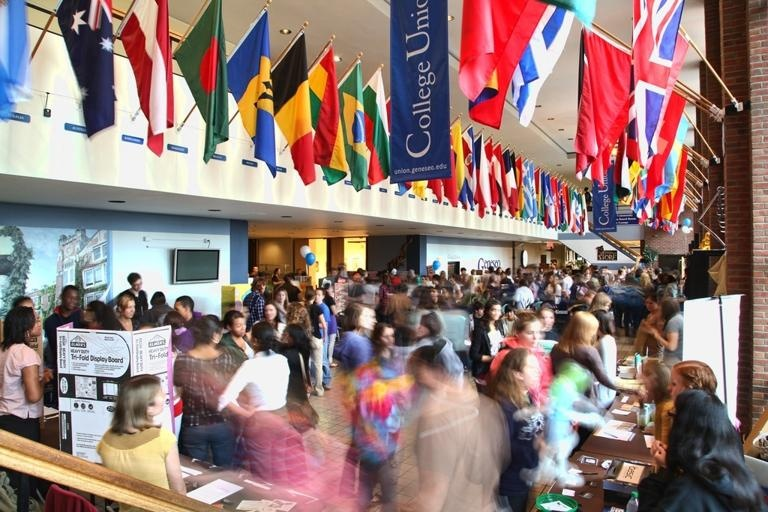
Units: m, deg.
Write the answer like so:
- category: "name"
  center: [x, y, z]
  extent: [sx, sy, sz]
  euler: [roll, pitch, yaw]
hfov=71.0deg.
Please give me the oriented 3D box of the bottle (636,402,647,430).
- category: "bottle"
  center: [3.243, 1.994, 6.728]
  extent: [0.137, 0.300, 0.268]
  euler: [2, 2, 16]

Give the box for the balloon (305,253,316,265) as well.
- category: "balloon"
  center: [-2.302, 0.088, 16.690]
  extent: [0.337, 0.403, 0.427]
  euler: [13, 5, -12]
